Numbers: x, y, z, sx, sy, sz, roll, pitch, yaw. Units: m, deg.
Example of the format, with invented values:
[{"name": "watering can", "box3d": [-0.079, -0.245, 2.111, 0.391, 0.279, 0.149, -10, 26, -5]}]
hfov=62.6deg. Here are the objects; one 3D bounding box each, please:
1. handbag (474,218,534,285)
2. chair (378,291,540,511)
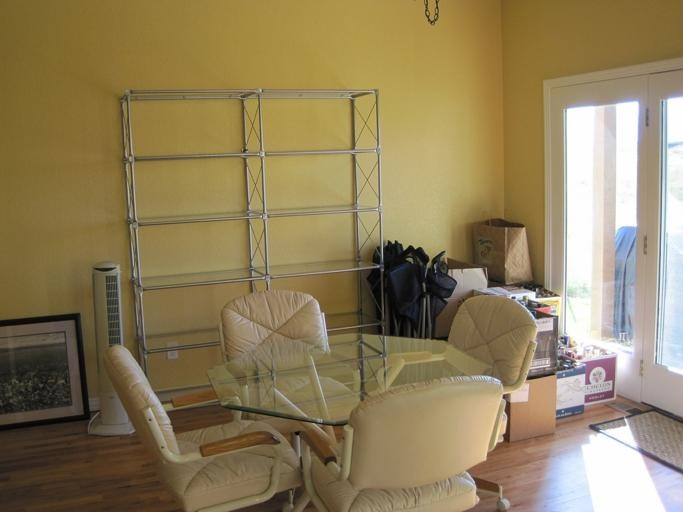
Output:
[{"name": "handbag", "box3d": [1.419, -0.062, 5.057, 0.309, 0.522, 0.519, -14, 19, -19]}, {"name": "chair", "box3d": [0.506, 0.613, 3.500, 1.083, 1.299, 1.169, -1, 3, -24]}]
